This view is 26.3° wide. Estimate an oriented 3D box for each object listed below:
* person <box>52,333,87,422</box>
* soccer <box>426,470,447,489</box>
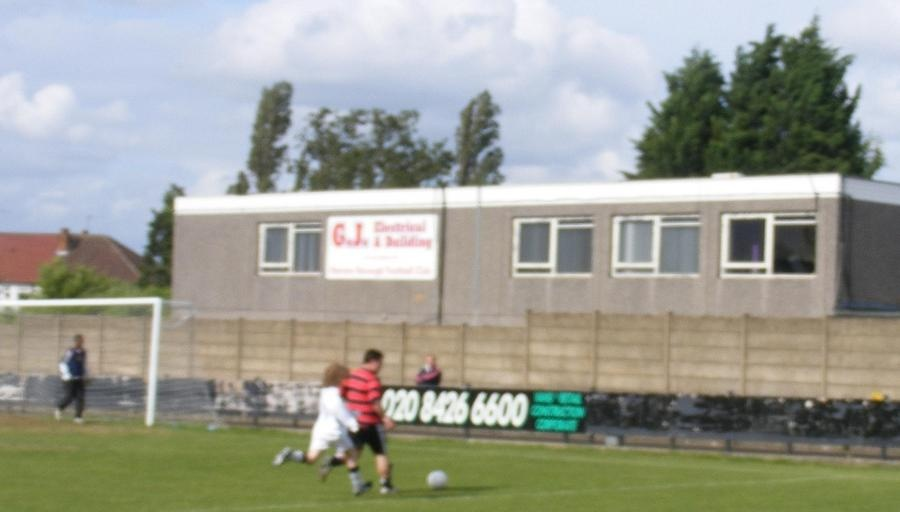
[{"bbox_3d":[-16.479,5.400,84.949,1.214,3.875,1.245,-3,-8,20],"label":"person"},{"bbox_3d":[-0.451,8.832,76.254,0.825,0.580,0.607,-2,-26,1],"label":"soccer"}]
